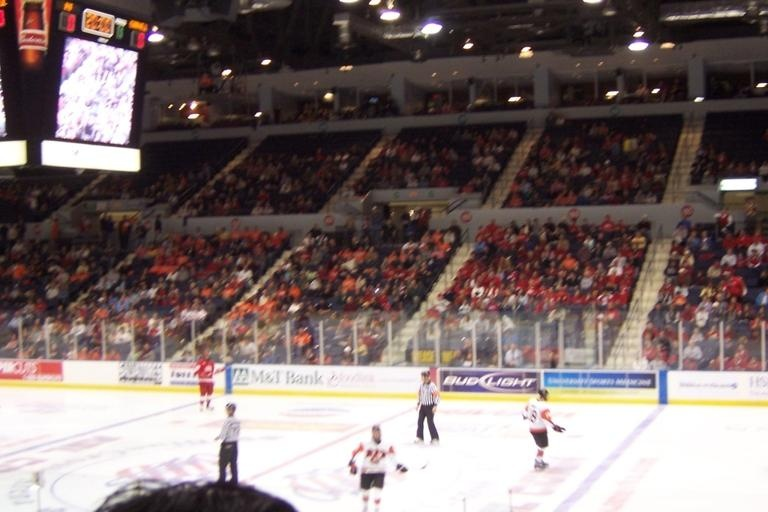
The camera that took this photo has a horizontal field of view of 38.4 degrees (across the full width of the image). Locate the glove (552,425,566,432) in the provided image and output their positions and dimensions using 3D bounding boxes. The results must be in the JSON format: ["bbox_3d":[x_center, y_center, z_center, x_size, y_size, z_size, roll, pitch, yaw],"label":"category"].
[{"bbox_3d":[4.815,4.702,30.071,0.276,0.194,0.596,1,0,18],"label":"glove"}]

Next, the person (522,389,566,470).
[{"bbox_3d":[4.443,4.772,30.461,1.071,2.213,1.210,1,0,31],"label":"person"}]
